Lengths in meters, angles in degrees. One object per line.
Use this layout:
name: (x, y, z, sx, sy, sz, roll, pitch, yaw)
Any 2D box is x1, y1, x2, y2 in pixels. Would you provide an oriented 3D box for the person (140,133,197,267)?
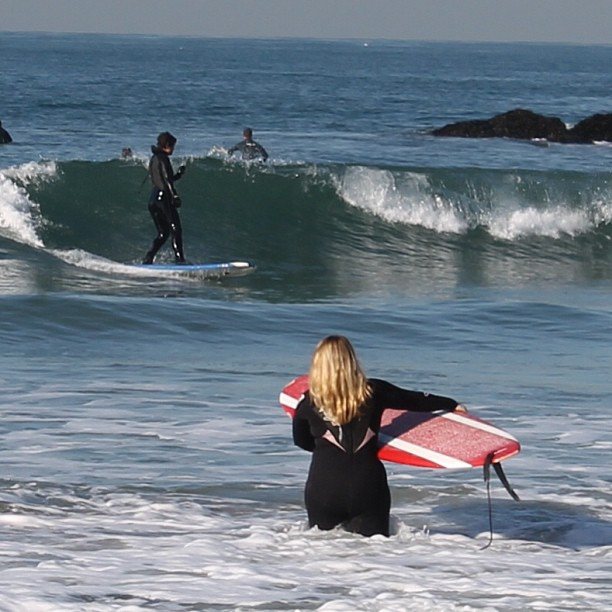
person: (-1.631, -1.215, 14.573, 0.432, 1.655, 1.155, 5, 12, -6)

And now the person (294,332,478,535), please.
person: (0.477, 0.794, 7.457, 1.196, 1.626, 0.734, 1, 32, 14)
